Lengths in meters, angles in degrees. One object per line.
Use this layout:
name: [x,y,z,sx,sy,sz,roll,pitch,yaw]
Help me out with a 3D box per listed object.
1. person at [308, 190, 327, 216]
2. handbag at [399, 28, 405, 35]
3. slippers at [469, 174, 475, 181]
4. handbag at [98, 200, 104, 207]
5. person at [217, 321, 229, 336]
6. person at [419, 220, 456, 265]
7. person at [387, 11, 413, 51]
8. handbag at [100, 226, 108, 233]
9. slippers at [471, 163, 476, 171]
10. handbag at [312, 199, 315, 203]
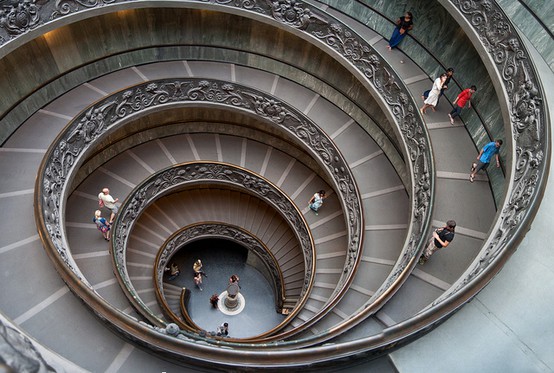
person: [1.974,0.803,20.022,0.793,0.505,1.637,7,-44,-7]
handbag: [5.463,-6.795,17.725,0.042,0.170,0.169,-21,-56,-45]
slippers: [7.084,-0.314,14.752,0.123,0.065,0.283,6,-87,-4]
handbag: [-7.650,0.756,17.734,0.198,0.319,0.268,-8,-6,-14]
person: [-2.861,7.609,21.535,0.609,0.478,1.292,-7,-28,-11]
person: [5.144,1.866,13.009,0.412,0.504,1.281,12,-31,-14]
person: [5.442,-6.851,17.917,0.650,0.485,1.803,34,-43,10]
handbag: [-7.285,1.831,17.200,0.258,0.262,0.094,-1,5,-34]
slippers: [7.101,-0.691,14.654,0.108,0.072,0.290,14,-67,5]
handbag: [1.802,0.723,20.003,0.089,0.145,0.150,8,-85,5]
